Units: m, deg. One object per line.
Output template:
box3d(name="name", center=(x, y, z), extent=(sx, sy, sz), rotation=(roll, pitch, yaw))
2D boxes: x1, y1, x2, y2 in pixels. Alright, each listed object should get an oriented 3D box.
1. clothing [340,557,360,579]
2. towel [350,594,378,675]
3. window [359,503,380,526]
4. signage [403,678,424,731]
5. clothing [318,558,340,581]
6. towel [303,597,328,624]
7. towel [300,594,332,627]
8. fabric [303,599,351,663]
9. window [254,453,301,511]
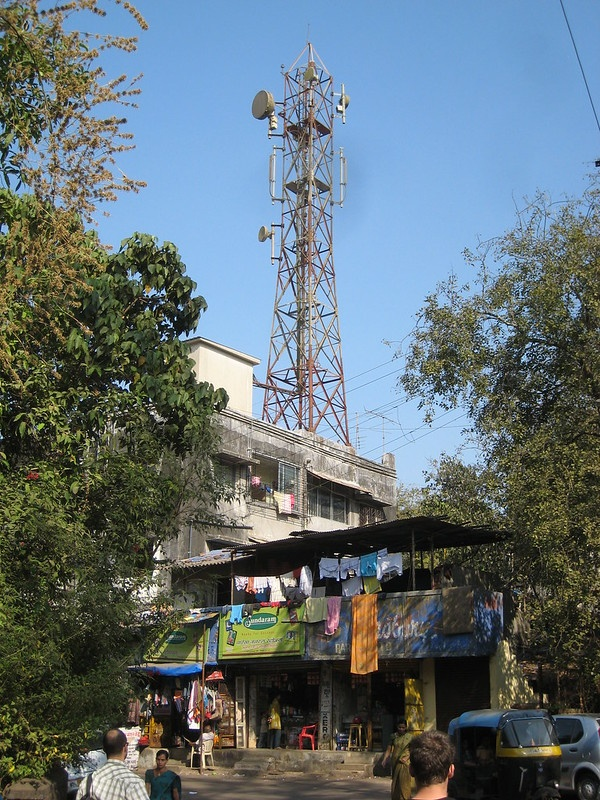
box3d(name="clothing", center=(1.158, 3.902, 26.589), extent=(0.452, 0.467, 0.155), rotation=(-13, -25, 36))
box3d(name="towel", center=(1.402, 5.134, 25.406), extent=(0.231, 1.777, 0.853), rotation=(16, -27, -35))
box3d(name="window", center=(2.355, 3.960, 39.754), extent=(0.094, 0.947, 1.274), rotation=(-15, -19, 34))
box3d(name="signage", center=(2.465, 6.562, 24.774), extent=(0.311, 0.950, 0.063), rotation=(-3, -12, 6))
box3d(name="clothing", center=(0.676, 3.904, 26.704), extent=(0.525, 0.510, 0.305), rotation=(-6, -23, 11))
box3d(name="towel", center=(0.353, 4.904, 26.659), extent=(0.506, 0.576, 0.131), rotation=(-17, -41, 38))
box3d(name="towel", center=(0.358, 4.921, 26.659), extent=(0.618, 0.685, 0.162), rotation=(-10, -37, 36))
box3d(name="fabric", center=(0.562, 5.241, 26.448), extent=(1.220, 1.320, 0.734), rotation=(2, -2, -26))
box3d(name="window", center=(-0.761, 2.593, 36.088), extent=(0.132, 1.165, 1.566), rotation=(-21, -31, 35))
